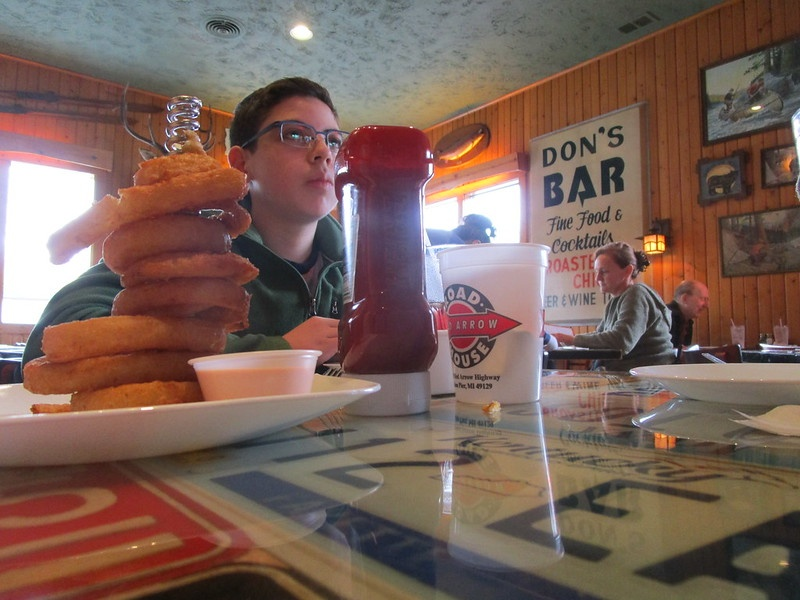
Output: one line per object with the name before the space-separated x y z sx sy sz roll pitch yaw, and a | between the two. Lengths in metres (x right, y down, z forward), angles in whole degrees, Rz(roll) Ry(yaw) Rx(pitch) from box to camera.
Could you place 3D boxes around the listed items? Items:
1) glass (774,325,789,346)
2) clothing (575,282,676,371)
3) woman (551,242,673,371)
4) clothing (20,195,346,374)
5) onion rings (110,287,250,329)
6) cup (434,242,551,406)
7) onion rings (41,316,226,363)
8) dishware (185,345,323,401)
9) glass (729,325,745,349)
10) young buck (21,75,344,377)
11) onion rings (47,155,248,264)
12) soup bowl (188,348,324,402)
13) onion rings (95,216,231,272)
glass | 2.336 0.207 3.731 0.079 0.121 0.238 -1 1 31
clothing | 1.372 0.181 3.631 0.664 0.499 0.780 5 -15 8
woman | 1.342 0.050 3.777 0.793 0.710 0.645 -1 2 7
clothing | -0.528 -0.069 1.605 0.729 0.183 0.549 -4 -6 -10
onion rings | -0.241 -0.001 0.675 0.122 0.029 0.110 -2 -1 11
cup | 0.114 0.034 0.825 0.184 0.176 0.160 -5 -5 14
onion rings | -0.301 0.034 0.618 0.110 0.020 0.103 -2 10 0
dishware | -0.147 0.084 0.643 0.139 0.041 0.132 4 -12 -34
glass | 2.185 0.225 3.932 0.086 0.140 0.273 -1 1 28
young buck | -0.296 -0.114 0.776 0.271 0.339 0.313 -5 -12 20
onion rings | -0.269 -0.093 0.649 0.168 0.041 0.122 -19 -4 -6
soup bowl | -0.149 0.085 0.645 0.137 0.041 0.137 -3 -10 0
onion rings | -0.254 -0.061 0.679 0.144 0.034 0.128 -12 -7 -14
